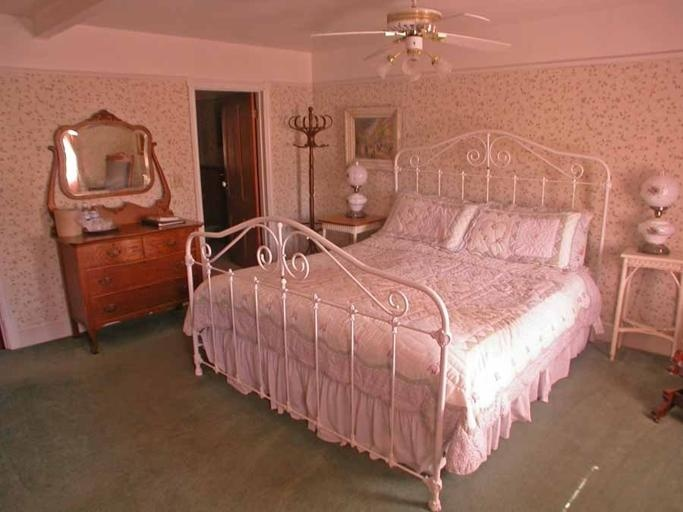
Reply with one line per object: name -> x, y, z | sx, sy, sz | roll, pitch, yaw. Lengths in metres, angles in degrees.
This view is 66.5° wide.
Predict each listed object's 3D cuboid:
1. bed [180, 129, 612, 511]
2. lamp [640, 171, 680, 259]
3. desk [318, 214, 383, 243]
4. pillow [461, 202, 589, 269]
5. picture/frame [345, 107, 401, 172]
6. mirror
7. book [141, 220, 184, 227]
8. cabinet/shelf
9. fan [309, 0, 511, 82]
bed -> 0.769, 0.575, 4.388 | 2.896, 2.152, 2.885 | 13, 22, 38
lamp -> 2.445, -0.332, 4.028 | 0.267, 0.583, 0.298 | 10, 22, 30
desk -> 0.116, -0.369, 5.631 | 0.415, 0.482, 0.487 | 7, 12, 35
pillow -> 1.496, -0.156, 4.266 | 0.642, 0.159, 0.620 | 7, 37, 30
picture/frame -> 0.365, -1.273, 5.617 | 0.701, 0.601, 0.056 | 9, 15, 41
mirror -> -2.198, -0.950, 4.744 | 0.797, 0.681, 0.042 | -12, 16, -43
book -> -1.632, -0.300, 4.779 | 0.447, 0.061, 0.605 | -1, 4, -22
cabinet/shelf -> -1.889, 0.256, 4.537 | 0.966, 0.841, 0.411 | -15, 21, -43
fan -> 0.640, -1.834, 4.404 | 1.037, 0.496, 1.030 | -9, 16, -39
